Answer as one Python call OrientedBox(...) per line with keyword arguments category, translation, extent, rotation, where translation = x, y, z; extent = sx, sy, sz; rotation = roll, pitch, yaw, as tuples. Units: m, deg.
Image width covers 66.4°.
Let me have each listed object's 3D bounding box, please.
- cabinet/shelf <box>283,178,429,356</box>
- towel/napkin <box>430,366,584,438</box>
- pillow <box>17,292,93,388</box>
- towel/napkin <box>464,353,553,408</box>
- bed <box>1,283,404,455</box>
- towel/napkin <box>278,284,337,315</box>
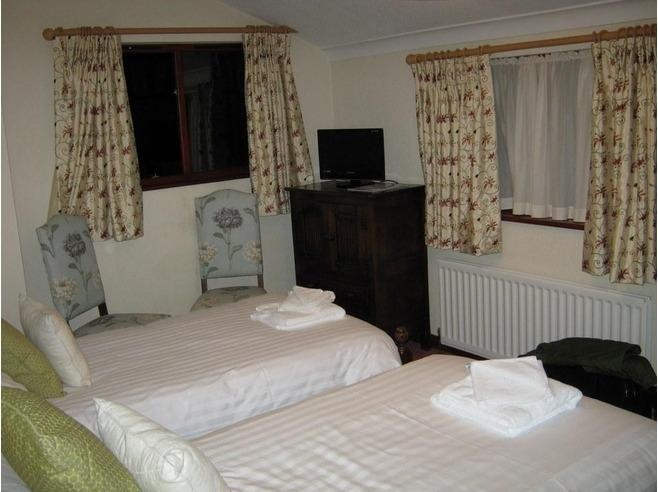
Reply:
OrientedBox(category="cabinet/shelf", translation=(0.256, 0.146, 4.524), extent=(0.747, 1.476, 1.024), rotation=(-17, 20, -41))
OrientedBox(category="towel/napkin", translation=(0.691, 0.693, 2.149), extent=(0.312, 0.078, 0.303), rotation=(-16, 11, -31))
OrientedBox(category="pillow", translation=(-1.490, 0.498, 2.707), extent=(0.279, 0.458, 0.503), rotation=(-6, 15, -44))
OrientedBox(category="towel/napkin", translation=(0.761, 0.596, 2.387), extent=(0.479, 0.121, 0.487), rotation=(-2, -2, -38))
OrientedBox(category="bed", translation=(-0.615, 0.658, 2.785), extent=(1.054, 0.309, 0.878), rotation=(-14, 25, -35))
OrientedBox(category="towel/napkin", translation=(-0.135, 0.356, 3.313), extent=(0.199, 0.071, 0.197), rotation=(-10, 14, -41))
